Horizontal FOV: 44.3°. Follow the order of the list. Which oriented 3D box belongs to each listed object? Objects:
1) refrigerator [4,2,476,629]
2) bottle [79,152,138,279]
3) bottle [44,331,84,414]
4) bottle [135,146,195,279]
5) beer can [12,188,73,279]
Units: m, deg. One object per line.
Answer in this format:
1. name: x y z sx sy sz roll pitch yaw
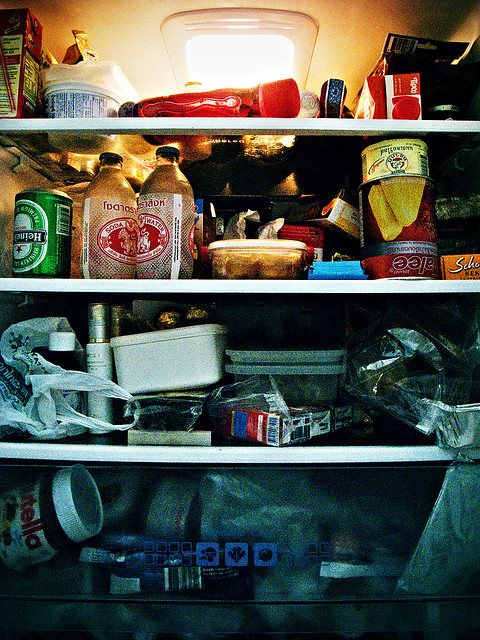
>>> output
1. refrigerator: 0.021 -0.048 1.134 0.920 1.129 0.426 -3 3 -3
2. bottle: -0.235 -0.190 1.059 0.103 0.230 0.061 -5 4 -25
3. bottle: -0.317 0.097 1.066 0.064 0.153 0.113 -4 4 -15
4. bottle: -0.134 -0.193 1.049 0.105 0.238 0.063 -5 3 -20
5. beer can: -0.349 -0.156 1.046 0.109 0.167 0.091 -5 4 -24
